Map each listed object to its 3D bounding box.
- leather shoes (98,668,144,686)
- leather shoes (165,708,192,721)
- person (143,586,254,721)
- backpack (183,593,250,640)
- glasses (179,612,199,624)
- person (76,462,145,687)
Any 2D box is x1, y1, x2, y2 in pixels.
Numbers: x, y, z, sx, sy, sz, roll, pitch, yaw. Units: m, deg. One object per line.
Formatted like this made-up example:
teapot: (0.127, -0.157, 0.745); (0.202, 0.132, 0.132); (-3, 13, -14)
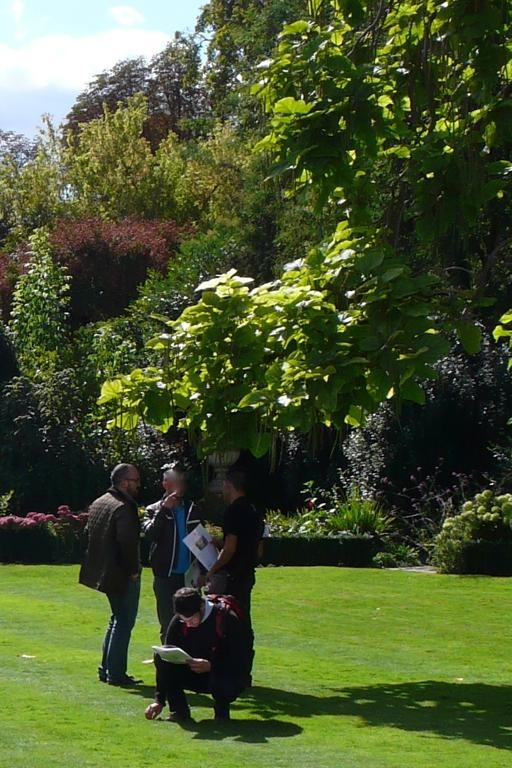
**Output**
leather shoes: (-0.868, 1.873, 6.644); (0.310, 0.111, 0.097); (1, -1, -10)
leather shoes: (-0.420, 1.835, 5.762); (0.146, 0.085, 0.052); (4, -8, 3)
person: (-0.325, 1.501, 5.788); (0.381, 0.740, 0.690); (2, -3, 39)
backpack: (-0.179, 1.309, 5.885); (0.394, 0.343, 0.270); (2, -10, -1)
glasses: (-0.358, 1.294, 5.721); (0.073, 0.052, 0.086); (-2, 0, -2)
person: (-0.917, 1.224, 6.720); (0.446, 1.389, 0.307); (4, -2, -2)
